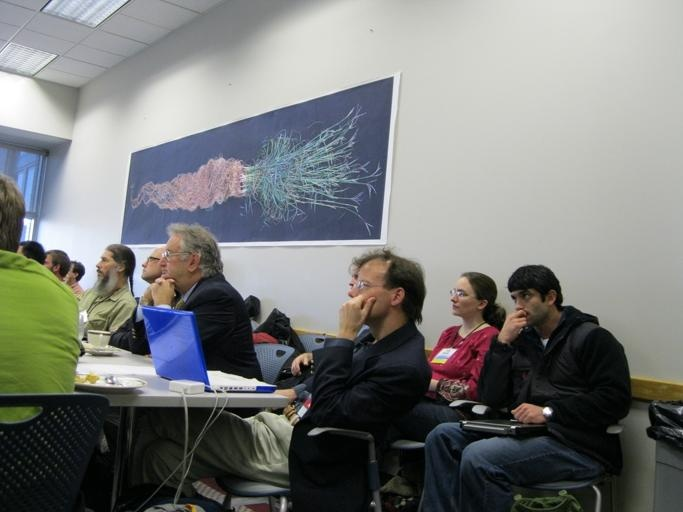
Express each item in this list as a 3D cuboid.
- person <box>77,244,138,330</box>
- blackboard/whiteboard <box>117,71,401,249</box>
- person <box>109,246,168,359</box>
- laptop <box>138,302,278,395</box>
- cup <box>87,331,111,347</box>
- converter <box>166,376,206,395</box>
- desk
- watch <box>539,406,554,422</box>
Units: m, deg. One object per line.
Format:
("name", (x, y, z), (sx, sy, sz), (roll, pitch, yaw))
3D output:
("person", (-2.169, 0.283, 4.239), (0.457, 0.833, 0.537), (12, -17, -38))
("blackboard/whiteboard", (-1.102, -0.770, 4.843), (3.845, 1.359, 0.049), (-2, -6, 33))
("person", (-1.416, 0.310, 3.109), (0.424, 0.760, 0.473), (11, -18, -25))
("laptop", (-0.581, 0.382, 1.889), (0.379, 0.296, 0.456), (3, -6, -37))
("cup", (-1.378, 0.465, 2.575), (0.106, 0.086, 0.108), (1, -10, 0))
("converter", (-0.564, 0.480, 1.673), (0.130, 0.045, 0.102), (3, -3, -26))
("desk", (-0.752, 0.445, 1.932), (0.754, 0.483, 0.749), (8, -6, -39))
("watch", (0.942, 0.717, 2.117), (0.036, 0.063, 0.059), (3, -26, 2))
